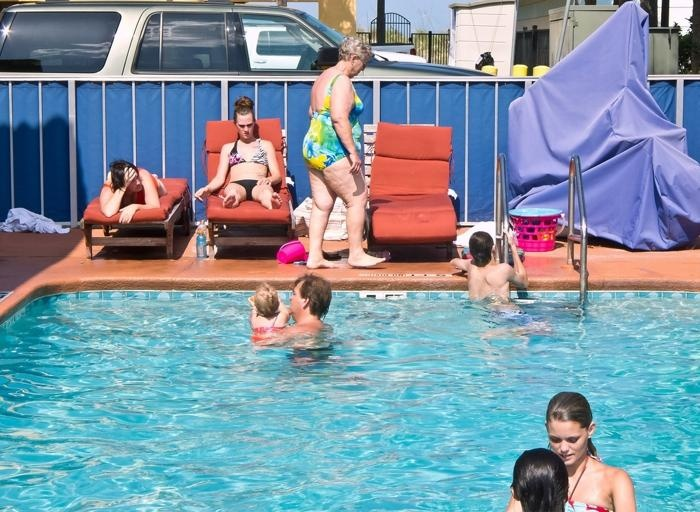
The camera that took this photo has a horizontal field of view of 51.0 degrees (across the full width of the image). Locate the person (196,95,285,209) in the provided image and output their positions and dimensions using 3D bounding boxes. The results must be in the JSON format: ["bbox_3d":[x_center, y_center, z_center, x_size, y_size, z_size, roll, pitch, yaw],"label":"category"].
[{"bbox_3d":[-1.249,-1.220,8.491,0.879,1.300,1.078,-2,5,-5],"label":"person"}]

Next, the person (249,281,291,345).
[{"bbox_3d":[-0.698,0.514,6.355,0.295,0.763,0.467,-1,46,-4],"label":"person"}]

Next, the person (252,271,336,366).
[{"bbox_3d":[-0.472,0.503,6.100,0.640,0.677,0.552,-2,5,-3],"label":"person"}]

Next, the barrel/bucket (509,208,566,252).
[{"bbox_3d":[2.168,-0.317,8.536,0.577,0.361,0.596,-1,9,0],"label":"barrel/bucket"}]

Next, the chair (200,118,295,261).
[{"bbox_3d":[-1.211,-0.837,8.592,1.072,1.172,1.678,-4,22,-11],"label":"chair"}]

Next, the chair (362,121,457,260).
[{"bbox_3d":[0.715,-0.723,8.377,0.968,1.162,1.622,2,24,2],"label":"chair"}]

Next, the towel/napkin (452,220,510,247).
[{"bbox_3d":[1.534,-0.293,9.043,0.409,0.047,0.427,-27,17,-21],"label":"towel/napkin"}]

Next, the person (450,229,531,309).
[{"bbox_3d":[1.368,0.095,7.080,0.724,0.689,0.643,-1,5,8],"label":"person"}]

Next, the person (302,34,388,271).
[{"bbox_3d":[-0.106,-1.045,7.602,0.796,2.377,0.512,-1,6,5],"label":"person"}]

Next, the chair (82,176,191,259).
[{"bbox_3d":[-2.358,-0.489,8.585,0.770,0.444,1.604,0,15,-4],"label":"chair"}]

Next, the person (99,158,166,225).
[{"bbox_3d":[-2.415,-0.706,8.024,0.638,0.681,0.665,-3,6,-18],"label":"person"}]
